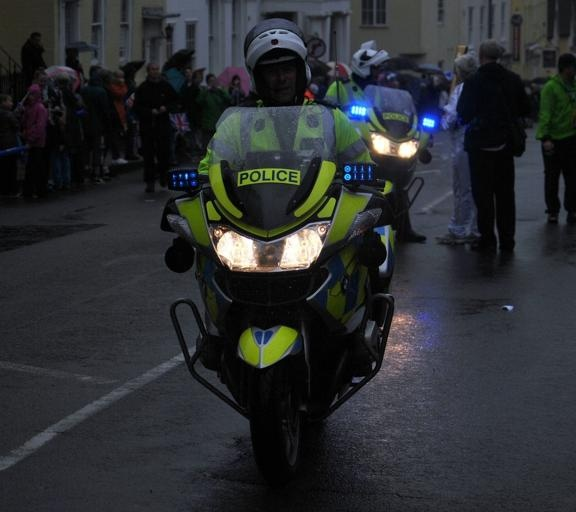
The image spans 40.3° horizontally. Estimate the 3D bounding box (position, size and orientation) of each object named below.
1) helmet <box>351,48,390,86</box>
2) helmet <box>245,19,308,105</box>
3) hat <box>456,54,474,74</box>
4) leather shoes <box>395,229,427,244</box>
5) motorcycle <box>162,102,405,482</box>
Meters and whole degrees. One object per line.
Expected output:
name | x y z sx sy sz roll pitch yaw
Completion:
helmet | 0.953 -2.425 9.538 0.417 0.413 0.375 1 52 3
helmet | -0.044 -0.867 3.789 0.250 0.407 0.384 -8 -9 0
hat | 2.349 -2.540 10.353 0.274 0.251 0.322 1 9 12
leather shoes | 1.654 -0.264 10.486 0.443 0.221 0.166 0 5 11
motorcycle | 0.008 0.164 3.483 0.924 1.676 0.819 -6 9 -33
